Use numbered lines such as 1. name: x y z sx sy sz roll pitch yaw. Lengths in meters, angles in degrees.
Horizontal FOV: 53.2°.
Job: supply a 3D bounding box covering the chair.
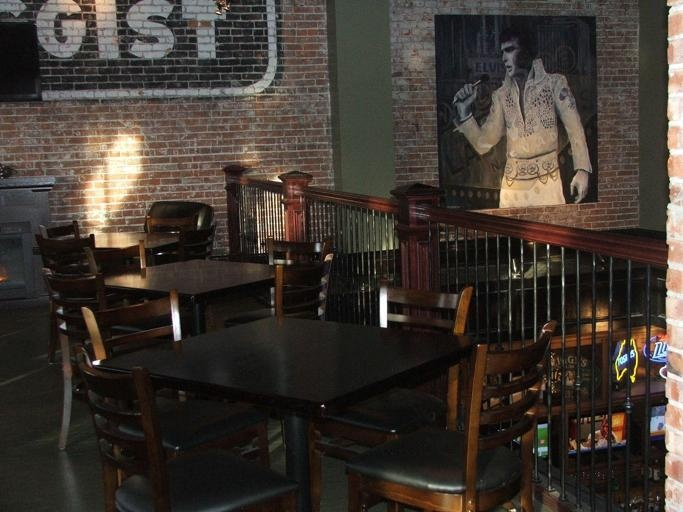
1. chair: -0.020 0.212 4.029 2.166 1.008 2.662 -12 15 -37
